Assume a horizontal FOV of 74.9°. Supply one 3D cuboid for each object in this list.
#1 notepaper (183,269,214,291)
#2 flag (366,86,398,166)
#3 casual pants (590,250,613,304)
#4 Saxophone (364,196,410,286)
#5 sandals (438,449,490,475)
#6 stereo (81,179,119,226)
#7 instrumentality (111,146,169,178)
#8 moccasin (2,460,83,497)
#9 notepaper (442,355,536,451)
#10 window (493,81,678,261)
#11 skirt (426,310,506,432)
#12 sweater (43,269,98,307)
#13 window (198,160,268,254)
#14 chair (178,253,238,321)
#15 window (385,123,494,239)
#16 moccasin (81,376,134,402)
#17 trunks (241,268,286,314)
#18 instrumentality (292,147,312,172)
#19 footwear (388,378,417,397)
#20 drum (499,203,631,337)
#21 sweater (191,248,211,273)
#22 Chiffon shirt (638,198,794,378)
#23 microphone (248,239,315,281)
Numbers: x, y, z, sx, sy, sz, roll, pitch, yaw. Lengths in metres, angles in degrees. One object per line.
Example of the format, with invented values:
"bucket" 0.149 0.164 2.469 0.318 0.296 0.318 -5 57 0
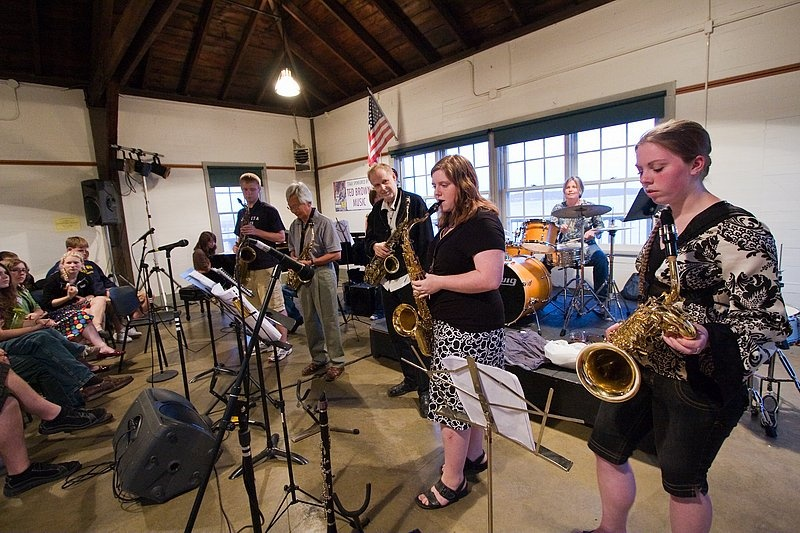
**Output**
"notepaper" -2.047 0.132 5.292 0.286 0.217 0.206 -4 6 -18
"flag" -0.349 -2.720 10.098 0.583 1.398 0.880 -2 6 -2
"casual pants" 3.093 0.088 7.880 0.259 0.827 0.407 0 8 -21
"Saxophone" -0.132 -0.291 5.857 0.444 1.206 0.319 -6 49 -24
"sandals" 0.638 1.913 5.111 0.590 0.223 0.209 2 -11 -18
"stereo" -5.312 -1.168 9.280 0.537 0.783 0.496 3 11 43
"instrumentality" -4.897 -1.958 9.649 0.742 0.534 1.075 -2 6 -2
"moccasin" -3.667 2.131 5.445 0.293 0.304 0.762 5 7 44
"notepaper" 0.712 1.074 4.247 0.754 0.769 0.073 6 33 45
"window" 2.675 -1.467 7.421 3.134 2.682 0.223 3 9 37
"skirt" 0.591 0.979 5.241 0.858 1.487 1.150 -1 2 13
"sweater" -4.781 0.255 7.447 0.450 0.555 0.673 -6 9 38
"window" -3.383 -1.174 11.172 1.234 2.158 0.147 1 28 2
"chair" -3.493 0.396 9.016 0.762 0.792 0.597 -17 13 -27
"window" 0.858 -1.656 10.057 2.435 1.810 0.237 -1 13 40
"moccasin" -3.724 1.498 6.588 0.198 0.222 0.591 4 8 29
"trunks" -1.650 0.267 6.143 0.362 0.713 0.231 -25 -12 17
"instrumentality" -2.276 -2.522 12.030 0.389 0.554 0.456 -2 6 -5
"footwear" 0.029 1.453 6.256 0.448 0.172 0.148 3 1 -37
"drum" 2.461 -0.023 7.502 1.600 1.415 1.319 5 9 17
"sweater" -3.187 -0.123 8.338 0.229 0.375 0.402 -11 11 -37
"Chiffon shirt" 2.490 0.226 4.295 1.473 1.357 0.815 3 5 -30
"microphone" -1.372 -0.089 5.925 0.194 0.189 0.777 -19 -41 40
